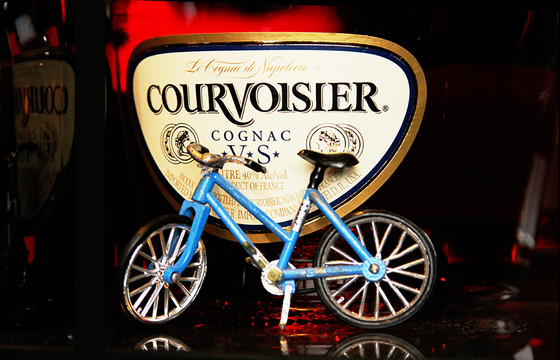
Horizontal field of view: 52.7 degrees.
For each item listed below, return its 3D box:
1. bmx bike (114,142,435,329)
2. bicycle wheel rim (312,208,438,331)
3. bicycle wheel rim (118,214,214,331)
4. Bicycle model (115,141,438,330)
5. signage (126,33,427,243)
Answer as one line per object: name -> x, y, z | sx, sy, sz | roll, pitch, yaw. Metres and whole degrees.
bmx bike -> 0.036, 0.469, 3.388 | 1.681, 1.155, 0.646 | 1, 23, 1
bicycle wheel rim -> 0.570, 0.525, 3.394 | 0.681, 0.692, 0.176 | 1, 3, 0
bicycle wheel rim -> -0.675, 0.563, 3.403 | 0.554, 0.596, 0.180 | 16, 1, -31
Bicycle model -> 0.038, 0.393, 3.346 | 2.299, 1.279, 0.854 | 3, 1, 2
signage -> -0.082, -0.292, 3.501 | 1.894, 1.241, 0.129 | -1, -5, 2
